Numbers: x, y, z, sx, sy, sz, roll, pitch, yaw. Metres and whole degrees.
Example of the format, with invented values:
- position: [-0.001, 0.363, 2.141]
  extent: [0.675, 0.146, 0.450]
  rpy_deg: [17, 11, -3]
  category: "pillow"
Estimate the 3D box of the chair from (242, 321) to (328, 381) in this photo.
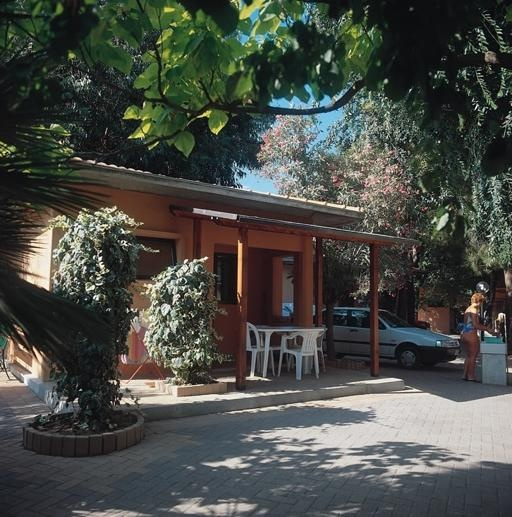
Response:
- position: [0.522, 1.854, 10.766]
  extent: [1.340, 0.748, 1.399]
  rpy_deg: [-7, -9, 42]
  category: "chair"

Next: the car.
- position: [3.962, 2.408, 15.122]
  extent: [3.820, 1.495, 1.846]
  rpy_deg: [-6, -8, 28]
  category: "car"
